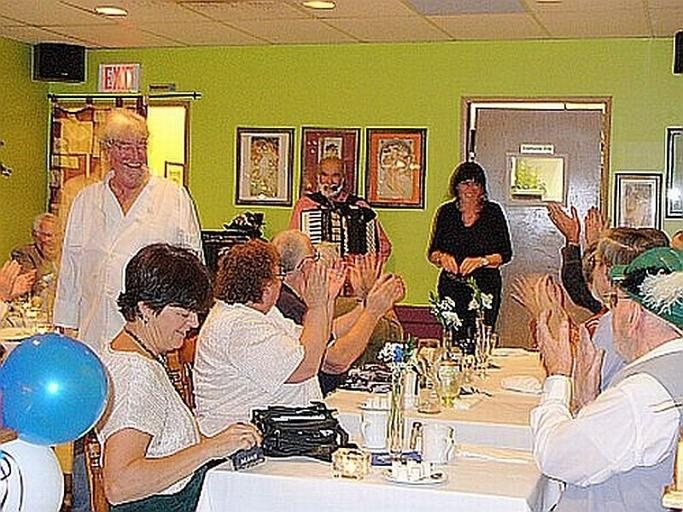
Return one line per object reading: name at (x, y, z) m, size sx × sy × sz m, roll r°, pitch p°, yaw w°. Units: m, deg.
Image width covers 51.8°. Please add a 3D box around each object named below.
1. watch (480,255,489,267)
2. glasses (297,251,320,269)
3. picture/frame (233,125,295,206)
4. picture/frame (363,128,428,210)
watch at (1.278, 0.051, 6.357) m, size 0.056 × 0.091 × 0.076 m, roll 4°, pitch -2°, yaw -26°
glasses at (-0.190, 0.016, 4.046) m, size 0.107 × 0.034 × 0.103 m, roll -31°, pitch 8°, yaw -23°
picture/frame at (-0.799, -0.981, 7.474) m, size 0.760 × 1.082 × 0.170 m, roll 1°, pitch -1°, yaw 8°
picture/frame at (0.574, -0.891, 7.177) m, size 0.765 × 1.078 × 0.097 m, roll 1°, pitch 3°, yaw 7°
